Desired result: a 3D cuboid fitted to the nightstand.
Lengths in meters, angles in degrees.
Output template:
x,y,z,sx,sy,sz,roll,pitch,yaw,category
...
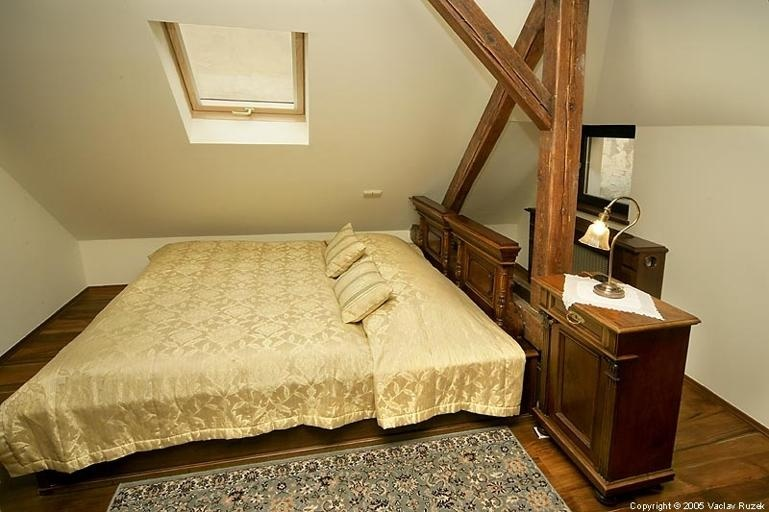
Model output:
x,y,z,sx,sy,sz,roll,pitch,yaw,category
1.382,0.870,3.045,0.623,1.236,0.999,-3,21,-7,nightstand
